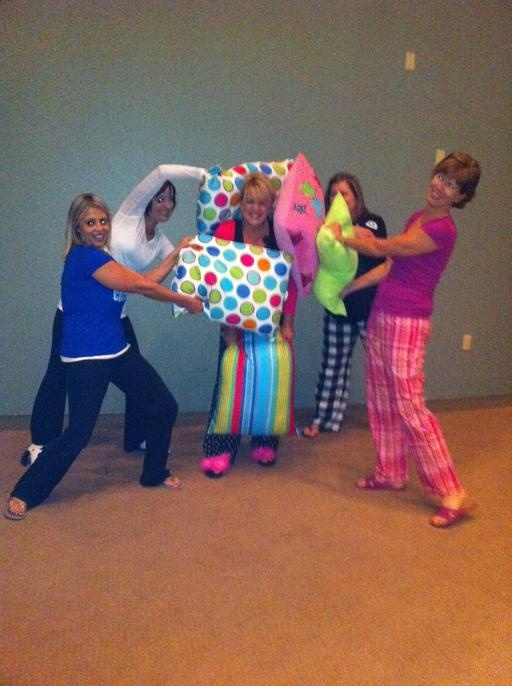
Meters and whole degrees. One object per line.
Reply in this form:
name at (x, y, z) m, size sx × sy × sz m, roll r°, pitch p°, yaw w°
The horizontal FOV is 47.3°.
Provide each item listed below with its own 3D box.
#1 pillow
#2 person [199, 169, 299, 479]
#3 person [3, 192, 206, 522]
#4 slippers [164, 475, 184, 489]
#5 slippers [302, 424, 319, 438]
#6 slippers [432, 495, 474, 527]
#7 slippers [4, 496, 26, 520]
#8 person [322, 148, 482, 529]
pillow at (0.002, -0.279, 2.493) m, size 0.804 × 1.135 × 0.347 m, roll -2°, pitch 18°, yaw -21°
person at (0.016, -0.013, 2.649) m, size 0.542 × 1.383 × 0.441 m, roll -6°, pitch 27°, yaw -20°
person at (-0.633, 0.040, 2.417) m, size 0.812 × 1.277 × 0.284 m, roll -3°, pitch 12°, yaw -24°
slippers at (-0.366, 0.622, 2.628) m, size 0.077 × 0.028 × 0.047 m, roll 9°, pitch 5°, yaw 35°
slippers at (0.326, 0.523, 3.452) m, size 0.029 × 0.066 × 0.075 m, roll 28°, pitch 8°, yaw 28°
slippers at (0.805, 0.670, 2.349) m, size 0.215 × 0.077 × 0.062 m, roll -3°, pitch 17°, yaw -42°
slippers at (-0.936, 0.644, 2.280) m, size 0.077 × 0.077 × 0.074 m, roll -2°, pitch 11°, yaw -20°
person at (0.584, 0.000, 2.326) m, size 0.345 × 1.420 × 0.508 m, roll -6°, pitch 13°, yaw -34°
